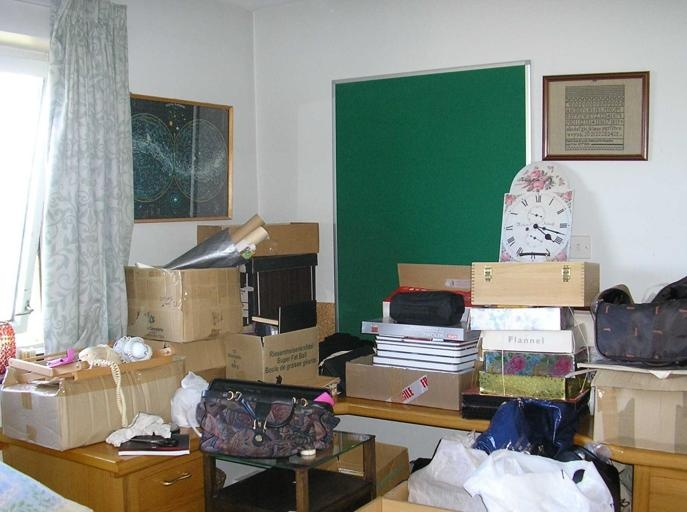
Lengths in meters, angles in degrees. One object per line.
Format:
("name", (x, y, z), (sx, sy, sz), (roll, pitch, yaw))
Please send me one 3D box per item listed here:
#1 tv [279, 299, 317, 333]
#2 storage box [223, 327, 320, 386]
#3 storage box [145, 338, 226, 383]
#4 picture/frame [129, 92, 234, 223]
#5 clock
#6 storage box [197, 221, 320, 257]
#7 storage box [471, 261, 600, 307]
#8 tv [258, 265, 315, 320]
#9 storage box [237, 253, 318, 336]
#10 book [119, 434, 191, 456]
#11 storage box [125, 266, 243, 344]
("tv", (-0.243, 0.316, 2.898), (0.202, 0.153, 0.010), (-8, 24, -25))
("storage box", (-0.378, 0.482, 2.836), (0.335, 0.225, 0.333), (5, -10, -45))
("storage box", (-0.793, 0.464, 2.858), (0.227, 0.235, 0.315), (-2, -2, 39))
("picture/frame", (-1.041, -0.583, 3.453), (0.021, 0.762, 0.962), (9, 12, 22))
("clock", (1.005, -0.237, 2.849), (0.333, 0.519, 0.283), (1, 3, 22))
("storage box", (-0.341, -0.107, 3.534), (0.091, 0.209, 0.596), (2, 3, 33))
("storage box", (0.808, 0.123, 2.417), (0.460, 0.196, 0.099), (0, 2, 8))
("tv", (-0.400, 0.249, 3.442), (0.042, 0.326, 0.496), (3, -5, -41))
("storage box", (-0.445, 0.130, 3.522), (0.506, 0.505, 0.328), (-5, 41, -12))
("book", (-0.795, 0.795, 2.322), (0.285, 0.067, 0.166), (-1, 2, -21))
("storage box", (-0.805, 0.188, 2.830), (0.415, 0.285, 0.417), (0, 1, 33))
